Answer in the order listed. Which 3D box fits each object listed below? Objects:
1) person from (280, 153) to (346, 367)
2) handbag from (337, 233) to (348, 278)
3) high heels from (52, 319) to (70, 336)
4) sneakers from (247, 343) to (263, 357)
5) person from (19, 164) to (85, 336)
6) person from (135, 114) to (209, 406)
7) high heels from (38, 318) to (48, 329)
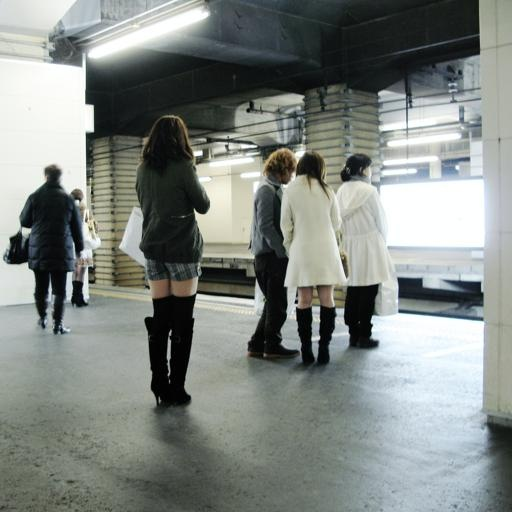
[{"bbox_3d":[0.469,0.019,4.390,0.532,1.727,0.361,0,2,4],"label":"person"},{"bbox_3d":[0.746,-0.012,4.588,0.100,0.361,0.227,-9,-6,6],"label":"handbag"},{"bbox_3d":[-2.147,0.787,5.910,0.085,0.200,0.243,4,8,24],"label":"high heels"},{"bbox_3d":[-0.010,0.829,4.695,0.158,0.087,0.067,1,1,-12],"label":"sneakers"},{"bbox_3d":[-2.255,-0.077,5.916,0.634,1.848,0.420,-1,3,-21],"label":"person"},{"bbox_3d":[-0.577,0.040,3.450,0.392,1.844,0.443,3,9,16],"label":"person"},{"bbox_3d":[-2.499,0.782,6.227,0.093,0.191,0.110,1,-8,-14],"label":"high heels"}]
